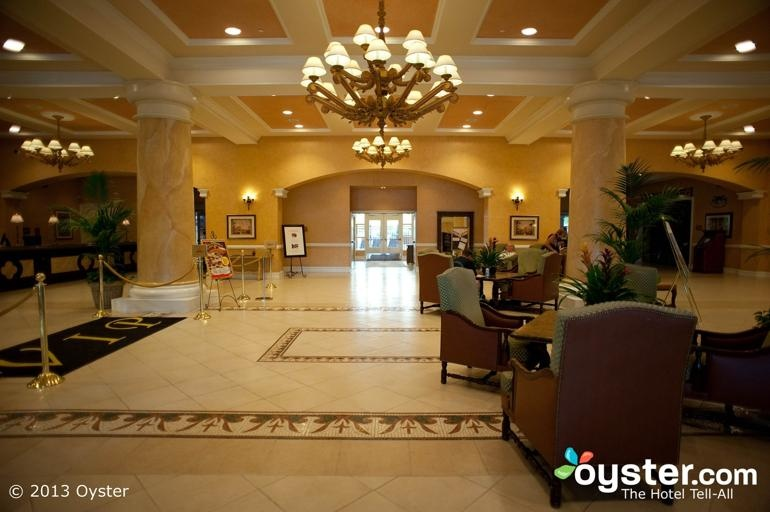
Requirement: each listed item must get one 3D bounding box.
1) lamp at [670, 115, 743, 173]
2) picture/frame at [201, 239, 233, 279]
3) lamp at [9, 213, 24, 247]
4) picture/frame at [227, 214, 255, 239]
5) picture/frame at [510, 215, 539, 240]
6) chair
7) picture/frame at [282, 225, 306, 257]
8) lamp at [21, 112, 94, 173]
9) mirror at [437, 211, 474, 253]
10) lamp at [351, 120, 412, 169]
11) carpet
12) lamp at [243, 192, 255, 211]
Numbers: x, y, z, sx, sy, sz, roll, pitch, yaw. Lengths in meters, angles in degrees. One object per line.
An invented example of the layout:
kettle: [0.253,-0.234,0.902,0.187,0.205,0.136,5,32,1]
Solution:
lamp: [8.603,-3.004,13.114,1.685,1.325,1.515,-9,9,-34]
picture/frame: [-3.791,0.123,11.058,0.519,0.908,0.683,-3,8,-21]
lamp: [-11.848,-0.880,15.734,0.342,1.033,0.808,-6,9,-36]
picture/frame: [-4.565,-0.940,15.315,0.818,0.659,0.075,0,3,-10]
picture/frame: [4.308,-0.911,15.189,0.818,0.652,0.077,0,1,-3]
chair: [2.131,1.312,6.775,2.295,2.377,3.876,1,7,-1]
picture/frame: [-3.030,-0.464,16.032,1.049,1.136,0.086,-5,4,-40]
lamp: [-8.712,-2.934,12.999,1.565,1.174,1.356,-1,3,-17]
mirror: [2.323,-0.798,16.167,1.583,1.703,0.130,0,-2,-4]
lamp: [-0.080,-2.754,12.914,1.786,1.326,1.726,-1,5,3]
carpet: [-5.146,1.515,8.299,1.726,0.212,2.750,2,7,17]
lamp: [-4.232,-1.700,15.163,0.450,0.628,0.431,1,-2,-18]
